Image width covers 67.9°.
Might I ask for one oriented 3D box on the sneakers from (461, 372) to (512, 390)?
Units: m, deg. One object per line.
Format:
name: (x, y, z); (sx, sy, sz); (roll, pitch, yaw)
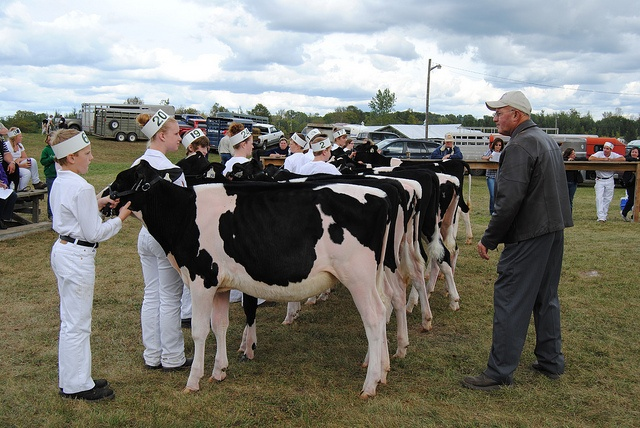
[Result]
sneakers: (2.077, 2.050, 5.859); (0.544, 0.223, 0.222); (6, -11, -1)

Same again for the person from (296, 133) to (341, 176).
person: (0.034, -0.897, 7.809); (0.381, 0.690, 0.766); (3, -4, -1)

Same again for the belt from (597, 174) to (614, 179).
belt: (8.548, -1.078, 14.143); (0.408, 0.165, 0.224); (7, 11, 25)

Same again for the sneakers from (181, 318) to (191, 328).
sneakers: (-2.068, 1.667, 7.265); (0.117, 0.151, 0.150); (0, 4, 23)

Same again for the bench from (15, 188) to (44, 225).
bench: (-7.205, -0.155, 11.595); (0.466, 0.425, 0.847); (-9, 13, -44)

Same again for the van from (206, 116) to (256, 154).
van: (-6.641, -5.434, 31.841); (2.275, 2.856, 4.591); (6, 14, -15)

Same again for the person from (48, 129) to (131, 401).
person: (-2.827, 0.591, 5.641); (0.741, 3.099, 0.950); (-5, 12, -30)

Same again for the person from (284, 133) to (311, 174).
person: (-0.461, -1.204, 9.611); (0.367, 0.776, 0.778); (14, 10, 31)

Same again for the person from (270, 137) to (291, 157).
person: (-1.312, -2.095, 15.184); (0.749, 0.458, 1.017); (0, -2, -6)

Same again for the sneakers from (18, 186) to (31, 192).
sneakers: (-7.659, -0.625, 12.139); (0.339, 0.095, 0.221); (5, 20, 0)
